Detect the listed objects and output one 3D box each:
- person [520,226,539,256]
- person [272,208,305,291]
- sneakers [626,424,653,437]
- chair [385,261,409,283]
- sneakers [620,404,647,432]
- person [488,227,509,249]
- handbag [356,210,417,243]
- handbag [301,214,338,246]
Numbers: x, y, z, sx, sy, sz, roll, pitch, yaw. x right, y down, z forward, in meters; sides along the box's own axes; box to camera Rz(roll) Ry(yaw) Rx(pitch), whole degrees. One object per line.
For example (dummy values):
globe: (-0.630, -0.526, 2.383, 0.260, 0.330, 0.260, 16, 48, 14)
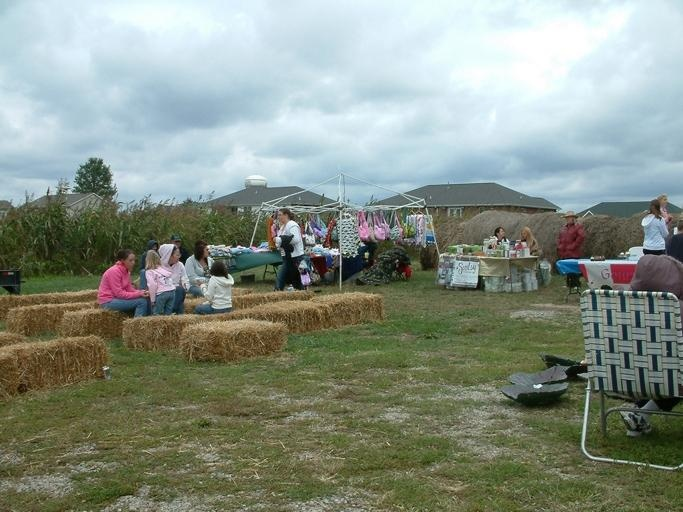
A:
person: (4.673, -0.400, 17.458, 0.385, 0.636, 1.133, 1, 9, 14)
person: (-1.007, -0.115, 13.474, 0.502, 1.607, 0.717, -1, 9, -2)
sneakers: (2.603, 1.522, 6.155, 0.101, 0.040, 0.133, -3, 4, 45)
chair: (1.587, 0.412, 19.366, 0.557, 0.534, 0.544, 6, -5, -44)
sneakers: (2.591, 1.425, 6.185, 0.177, 0.248, 0.116, 1, 9, 27)
person: (4.289, -0.508, 19.118, 0.749, 0.728, 0.473, -2, 0, -38)
handbag: (1.292, -0.797, 18.722, 2.333, 0.916, 0.628, 3, -38, -50)
handbag: (-0.638, -0.673, 18.903, 0.784, 1.047, 0.544, 3, -33, -21)
